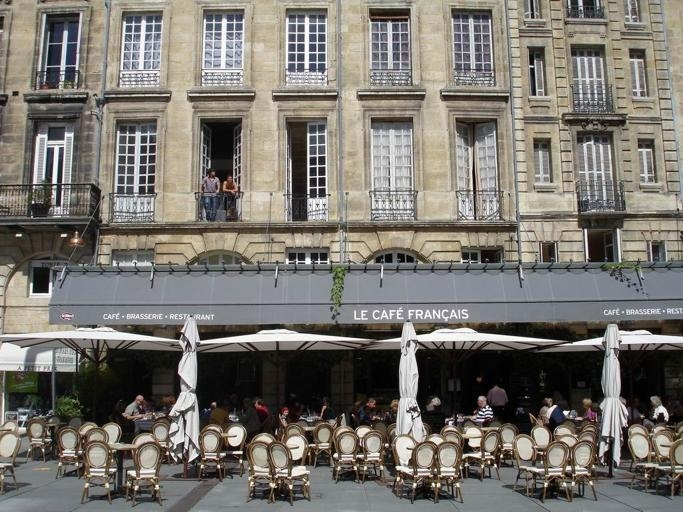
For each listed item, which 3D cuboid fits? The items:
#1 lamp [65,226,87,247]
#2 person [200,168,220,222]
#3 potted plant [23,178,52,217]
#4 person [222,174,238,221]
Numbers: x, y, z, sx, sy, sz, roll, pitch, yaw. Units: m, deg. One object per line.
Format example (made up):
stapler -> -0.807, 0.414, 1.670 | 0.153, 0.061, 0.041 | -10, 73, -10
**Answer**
lamp -> -9.200, -0.624, 38.386 | 0.727, 0.759, 0.723 | 3, -8, 11
person -> -4.595, -2.103, 39.091 | 0.617, 1.791, 0.309 | 1, -4, -8
potted plant -> -10.621, -1.959, 38.988 | 0.772, 1.148, 0.365 | 0, -4, 7
person -> -3.902, -2.004, 38.992 | 0.520, 1.483, 0.668 | 1, -4, -6
